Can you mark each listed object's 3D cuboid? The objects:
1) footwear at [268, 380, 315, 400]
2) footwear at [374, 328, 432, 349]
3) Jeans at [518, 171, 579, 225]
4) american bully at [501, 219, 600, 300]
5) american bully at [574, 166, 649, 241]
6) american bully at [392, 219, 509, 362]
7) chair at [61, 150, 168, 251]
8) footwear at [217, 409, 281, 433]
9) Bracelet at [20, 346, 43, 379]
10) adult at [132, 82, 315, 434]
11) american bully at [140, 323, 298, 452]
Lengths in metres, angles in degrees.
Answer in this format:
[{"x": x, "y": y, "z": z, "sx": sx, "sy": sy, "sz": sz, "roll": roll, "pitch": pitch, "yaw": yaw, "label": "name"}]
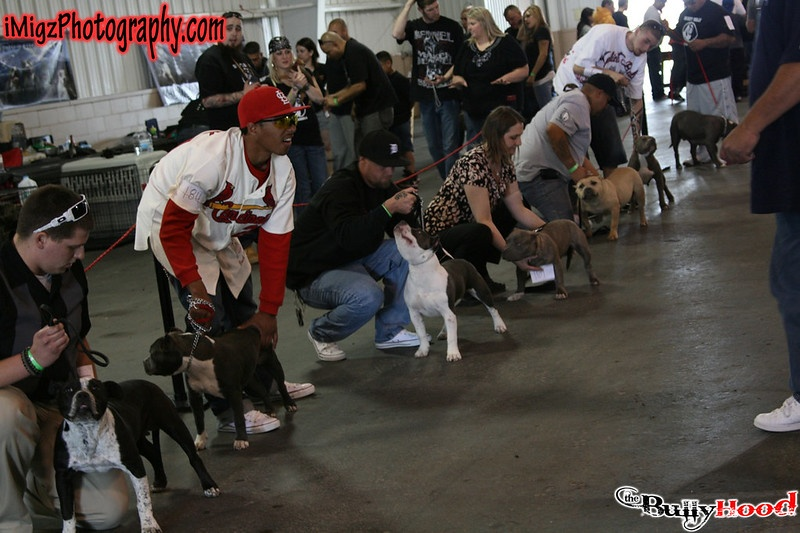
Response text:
[{"x": -0.780, "y": 0.903, "z": 4.566, "sx": 0.350, "sy": 0.142, "sz": 0.126, "roll": -7, "pitch": 19, "yaw": 0, "label": "footwear"}, {"x": 0.048, "y": 0.599, "z": 5.187, "sx": 0.453, "sy": 0.170, "sz": 0.163, "roll": -1, "pitch": 5, "yaw": 1, "label": "footwear"}, {"x": 1.539, "y": -0.740, "z": 6.434, "sx": 0.611, "sy": 0.362, "sz": 0.332, "roll": 10, "pitch": 5, "yaw": -21, "label": "Jeans"}, {"x": 1.458, "y": -0.094, "z": 5.891, "sx": 0.550, "sy": 0.688, "sz": 1.423, "roll": 1, "pitch": 7, "yaw": 43, "label": "american bully"}, {"x": 2.571, "y": -0.782, "z": 7.356, "sx": 0.640, "sy": 0.764, "sz": 1.153, "roll": 1, "pitch": 16, "yaw": 33, "label": "american bully"}, {"x": 0.384, "y": 0.140, "z": 4.841, "sx": 0.660, "sy": 1.098, "sz": 0.403, "roll": -20, "pitch": 17, "yaw": -38, "label": "american bully"}, {"x": -5.053, "y": -1.036, "z": 9.994, "sx": 0.927, "sy": 1.512, "sz": 1.698, "roll": 1, "pitch": 13, "yaw": 26, "label": "chair"}, {"x": -0.996, "y": 1.051, "z": 4.165, "sx": 0.395, "sy": 0.149, "sz": 0.166, "roll": -3, "pitch": 11, "yaw": 3, "label": "footwear"}, {"x": -1.830, "y": 0.482, "z": 3.092, "sx": 0.105, "sy": 0.146, "sz": 0.062, "roll": -5, "pitch": 14, "yaw": 12, "label": "Bracelet"}, {"x": -1.142, "y": -0.107, "z": 4.126, "sx": 1.208, "sy": 2.100, "sz": 1.186, "roll": -2, "pitch": 13, "yaw": -19, "label": "adult"}, {"x": -1.071, "y": 0.736, "z": 3.924, "sx": 0.371, "sy": 0.761, "sz": 1.113, "roll": -10, "pitch": -1, "yaw": 30, "label": "american bully"}]
